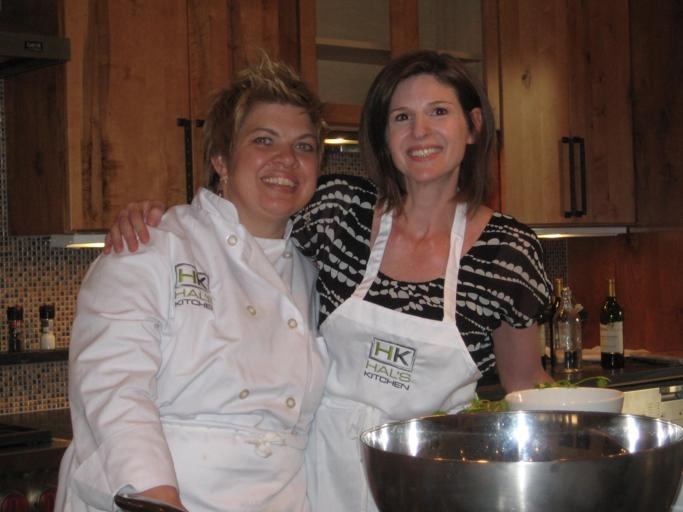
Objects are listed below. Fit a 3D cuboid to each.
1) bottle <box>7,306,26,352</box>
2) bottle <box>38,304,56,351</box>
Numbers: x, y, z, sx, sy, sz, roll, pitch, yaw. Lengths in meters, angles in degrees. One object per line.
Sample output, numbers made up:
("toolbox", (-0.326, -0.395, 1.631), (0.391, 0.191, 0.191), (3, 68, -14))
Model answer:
("bottle", (-1.177, 0.259, 2.747), (0.056, 0.169, 0.100), (2, -4, -23))
("bottle", (-1.083, 0.258, 2.800), (0.058, 0.165, 0.103), (1, -4, -21))
